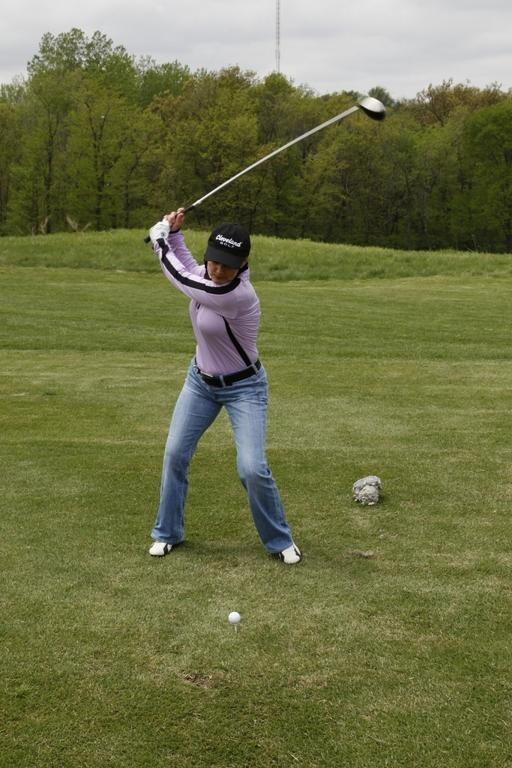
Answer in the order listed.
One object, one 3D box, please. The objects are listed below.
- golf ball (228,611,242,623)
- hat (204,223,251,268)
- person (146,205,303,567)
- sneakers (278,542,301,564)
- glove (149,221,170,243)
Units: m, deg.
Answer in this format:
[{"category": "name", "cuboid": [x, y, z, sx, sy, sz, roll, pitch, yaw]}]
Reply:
[{"category": "golf ball", "cuboid": [-0.105, 1.171, 5.391, 0.066, 0.051, 0.085, -1, 6, -3]}, {"category": "hat", "cuboid": [-0.147, -0.723, 5.666, 0.236, 0.238, 0.214, -1, 7, -3]}, {"category": "person", "cuboid": [-0.224, 0.022, 6.011, 0.847, 1.976, 0.587, 5, 9, 37]}, {"category": "sneakers", "cuboid": [0.188, 0.957, 6.048, 0.109, 0.098, 0.254, -1, -6, -4]}, {"category": "glove", "cuboid": [-0.549, -0.870, 6.166, 0.144, 0.123, 0.060, 3, -10, -17]}]
